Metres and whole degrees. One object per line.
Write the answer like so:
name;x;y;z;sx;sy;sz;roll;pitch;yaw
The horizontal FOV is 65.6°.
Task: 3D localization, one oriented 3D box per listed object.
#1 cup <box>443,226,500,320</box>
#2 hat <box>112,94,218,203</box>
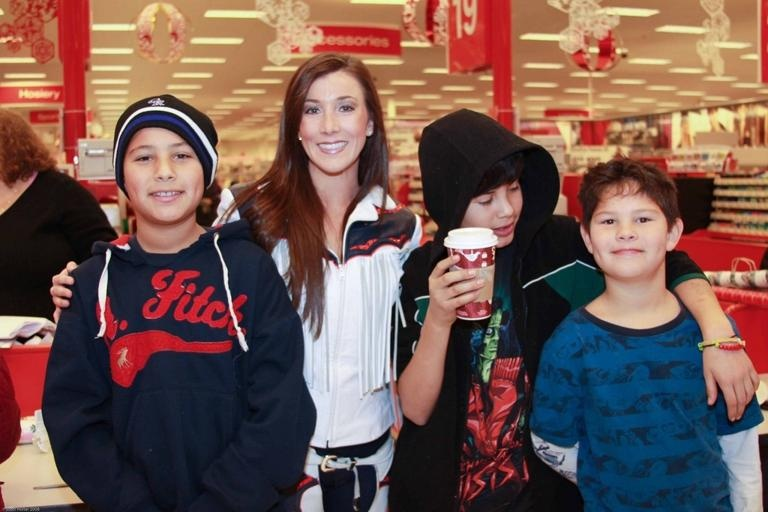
cup;0.327;0.077;2.189;0.183;0.355;0.215;-3;5;9
hat;-0.847;-0.408;2.350;0.328;0.418;0.345;-14;49;-4
